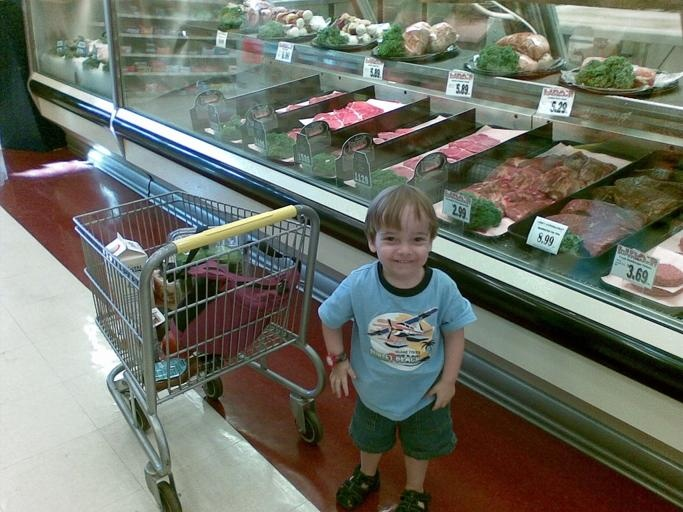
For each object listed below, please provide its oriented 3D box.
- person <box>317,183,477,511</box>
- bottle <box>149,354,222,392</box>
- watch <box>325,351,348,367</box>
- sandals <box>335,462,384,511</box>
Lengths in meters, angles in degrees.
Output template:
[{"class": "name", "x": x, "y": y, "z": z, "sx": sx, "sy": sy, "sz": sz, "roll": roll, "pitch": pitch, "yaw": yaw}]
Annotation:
[{"class": "person", "x": 0.177, "y": 0.378, "z": 1.700, "sx": 0.509, "sy": 1.224, "sz": 0.378, "roll": 8, "pitch": 29, "yaw": 14}, {"class": "bottle", "x": -0.615, "y": 0.444, "z": 1.910, "sx": 0.305, "sy": 0.068, "sz": 0.169, "roll": -15, "pitch": 26, "yaw": -18}, {"class": "watch", "x": -0.010, "y": 0.365, "z": 1.749, "sx": 0.056, "sy": 0.041, "sz": 0.074, "roll": -5, "pitch": 5, "yaw": 45}, {"class": "sandals", "x": 0.073, "y": 0.901, "z": 1.941, "sx": 0.194, "sy": 0.085, "sz": 0.100, "roll": -26, "pitch": 43, "yaw": -36}]
